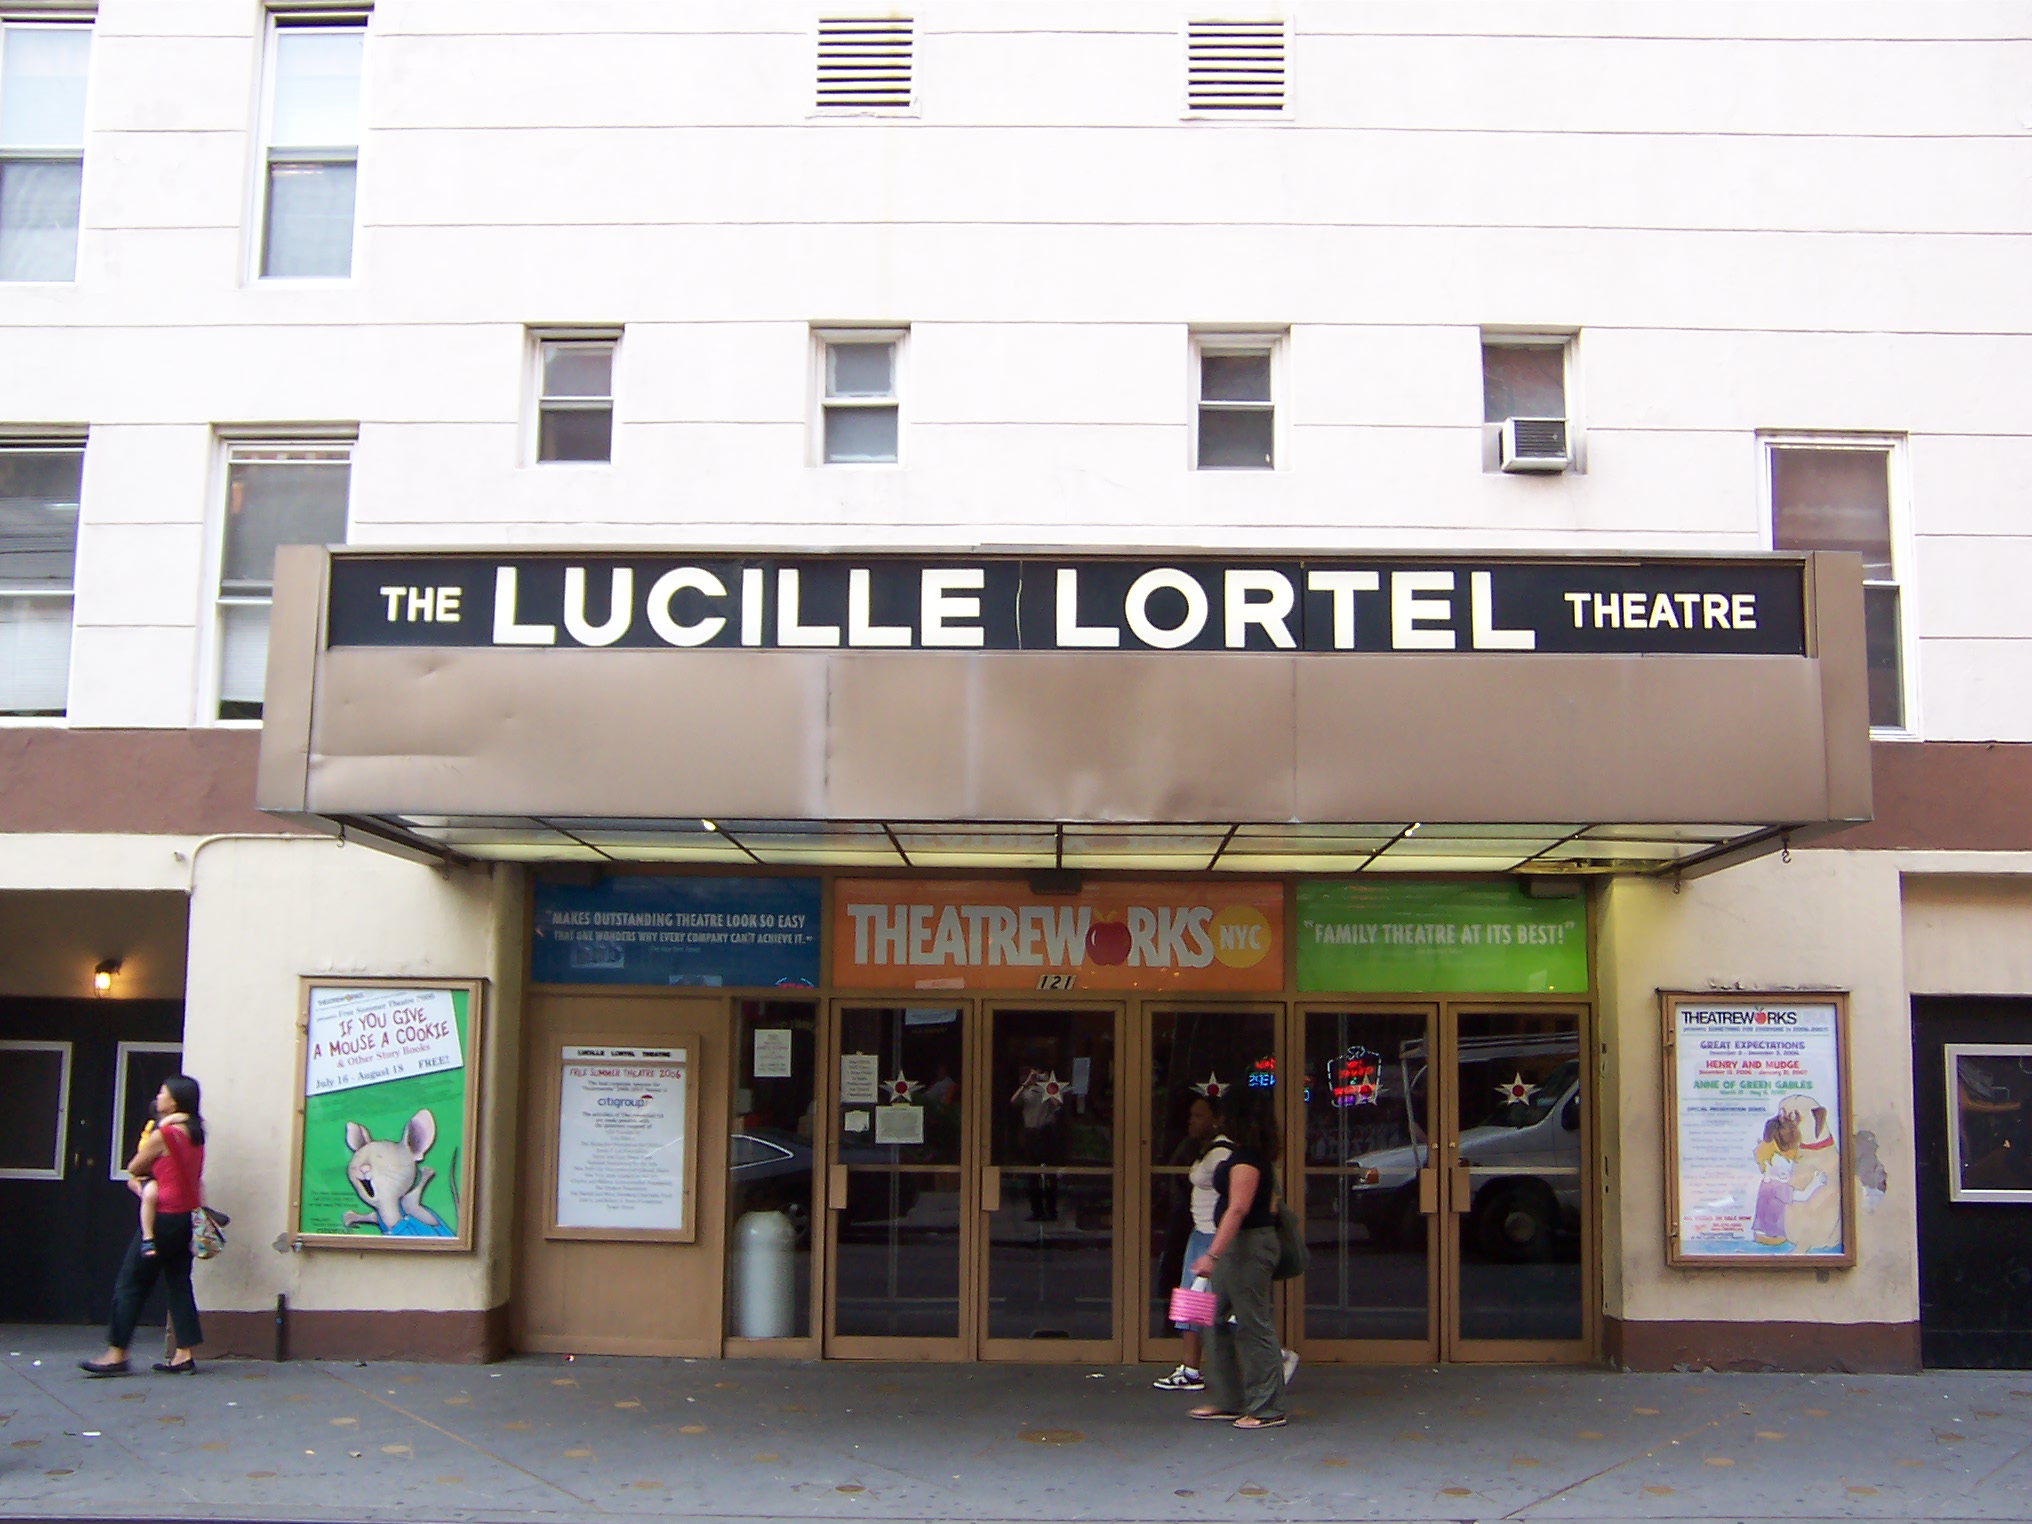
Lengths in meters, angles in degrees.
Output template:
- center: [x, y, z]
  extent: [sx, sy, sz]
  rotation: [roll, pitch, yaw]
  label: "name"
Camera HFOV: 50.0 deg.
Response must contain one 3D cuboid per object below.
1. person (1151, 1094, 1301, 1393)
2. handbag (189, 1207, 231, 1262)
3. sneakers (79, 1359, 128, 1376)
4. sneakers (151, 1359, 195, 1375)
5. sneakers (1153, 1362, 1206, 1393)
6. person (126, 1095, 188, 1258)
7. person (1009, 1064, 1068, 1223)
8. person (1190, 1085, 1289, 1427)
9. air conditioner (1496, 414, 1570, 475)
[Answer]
- center: [1.437, 3.374, 14.919]
  extent: [0.908, 2.924, 1.028]
  rotation: [3, -23, 2]
  label: "person"
- center: [-5.694, 3.340, 15.399]
  extent: [0.193, 0.422, 0.425]
  rotation: [0, -11, 3]
  label: "handbag"
- center: [-6.310, 4.213, 15.120]
  extent: [0.236, 0.086, 0.133]
  rotation: [8, -16, -6]
  label: "sneakers"
- center: [-5.862, 4.205, 15.201]
  extent: [0.276, 0.114, 0.102]
  rotation: [4, -6, 13]
  label: "sneakers"
- center: [1.149, 4.304, 15.216]
  extent: [0.356, 0.153, 0.130]
  rotation: [2, -5, 14]
  label: "sneakers"
- center: [-6.005, 2.791, 15.266]
  extent: [0.344, 1.141, 0.669]
  rotation: [-2, 6, -25]
  label: "person"
- center: [0.187, 2.824, 16.135]
  extent: [0.412, 1.115, 0.203]
  rotation: [0, 5, 2]
  label: "person"
- center: [1.485, 3.292, 14.312]
  extent: [0.588, 2.139, 0.628]
  rotation: [1, 5, 6]
  label: "person"
- center: [3.803, -2.299, 16.017]
  extent: [0.624, 0.447, 0.351]
  rotation: [1, -11, -4]
  label: "air conditioner"
